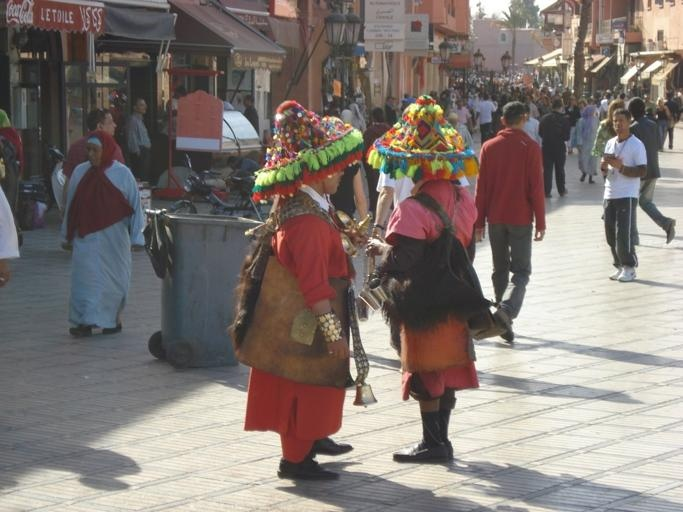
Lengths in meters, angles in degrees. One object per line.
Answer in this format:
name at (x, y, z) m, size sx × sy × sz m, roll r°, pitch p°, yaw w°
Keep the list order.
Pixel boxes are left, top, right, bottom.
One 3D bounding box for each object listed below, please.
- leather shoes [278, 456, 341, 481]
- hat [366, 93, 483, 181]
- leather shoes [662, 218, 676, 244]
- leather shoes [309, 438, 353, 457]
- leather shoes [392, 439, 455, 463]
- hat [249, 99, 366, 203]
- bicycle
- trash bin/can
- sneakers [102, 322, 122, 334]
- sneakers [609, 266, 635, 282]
leather shoes at (-0.227, 1.504, 8.446) m, size 0.451 × 0.206 × 0.162 m, roll 1°, pitch -2°, yaw -2°
hat at (0.549, -0.904, 8.554) m, size 0.638 × 0.465 × 0.650 m, roll 16°, pitch 21°, yaw 42°
leather shoes at (4.150, -0.311, 15.055) m, size 0.180 × 0.452 × 0.147 m, roll 3°, pitch 23°, yaw 18°
leather shoes at (-0.089, 1.346, 8.531) m, size 0.333 × 0.158 × 0.118 m, roll -5°, pitch 1°, yaw -14°
leather shoes at (0.583, 1.373, 8.563) m, size 0.417 × 0.197 × 0.175 m, roll 3°, pitch 0°, yaw 7°
hat at (-0.294, -0.725, 8.348) m, size 0.690 × 0.446 × 0.693 m, roll -35°, pitch 8°, yaw -14°
bicycle at (-1.901, -1.010, 18.409) m, size 1.720 × 1.250 × 1.141 m, roll 1°, pitch 7°, yaw -21°
trash bin/can at (-1.226, 0.274, 10.233) m, size 1.241 × 1.781 × 1.073 m, roll 0°, pitch 6°, yaw -17°
sneakers at (-2.192, 0.702, 11.417) m, size 0.073 × 0.094 × 0.206 m, roll 2°, pitch 0°, yaw 33°
sneakers at (3.189, 0.211, 13.515) m, size 0.120 × 0.164 × 0.356 m, roll 3°, pitch 1°, yaw 36°
